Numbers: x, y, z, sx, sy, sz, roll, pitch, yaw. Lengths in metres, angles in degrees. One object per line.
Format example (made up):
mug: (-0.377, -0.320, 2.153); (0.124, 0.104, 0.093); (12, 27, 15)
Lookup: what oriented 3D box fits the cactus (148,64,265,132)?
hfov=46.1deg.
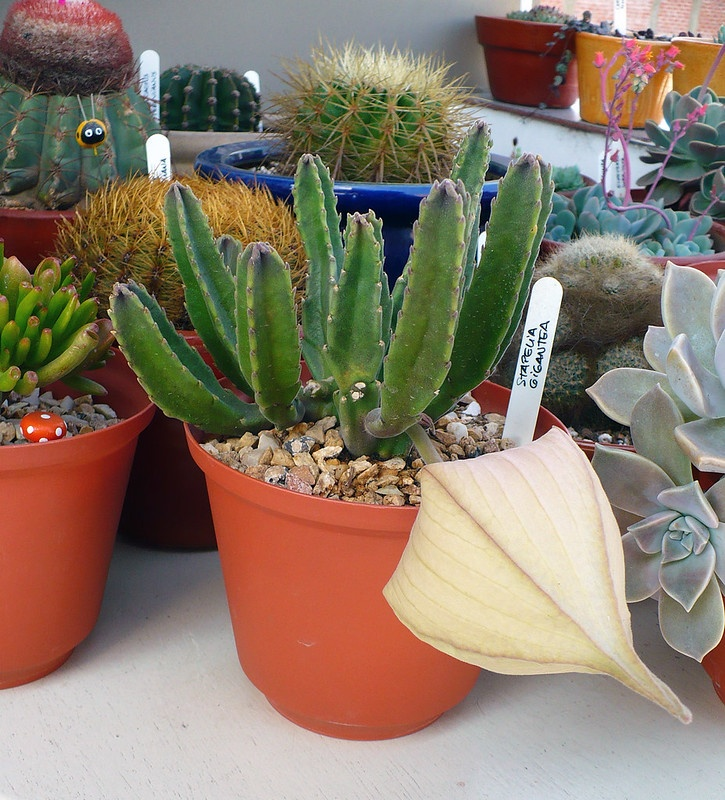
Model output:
cactus: (-0.321, -0.603, 1.694); (0.224, 0.112, 0.193); (-5, 22, -17)

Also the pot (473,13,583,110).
pot: (0.412, -0.885, 2.276); (0.337, 0.189, 0.296); (1, 22, -3)

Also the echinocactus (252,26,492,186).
echinocactus: (0.006, -0.337, 0.947); (0.131, 0.100, 0.130); (0, 15, -35)

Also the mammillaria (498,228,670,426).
mammillaria: (0.200, -0.073, 0.828); (0.152, 0.180, 0.102); (28, 8, -43)

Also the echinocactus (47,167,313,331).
echinocactus: (-0.161, -0.145, 0.748); (0.198, 0.137, 0.177); (-5, 23, -16)

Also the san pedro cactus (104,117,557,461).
san pedro cactus: (-0.023, -0.072, 0.568); (0.254, 0.230, 0.191); (10, 23, 12)

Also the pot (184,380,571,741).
pot: (0.014, 0.131, 0.640); (0.262, 0.173, 0.252); (6, 9, -1)

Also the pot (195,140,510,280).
pot: (-0.051, -0.209, 0.942); (0.292, 0.170, 0.254); (1, 22, -7)
